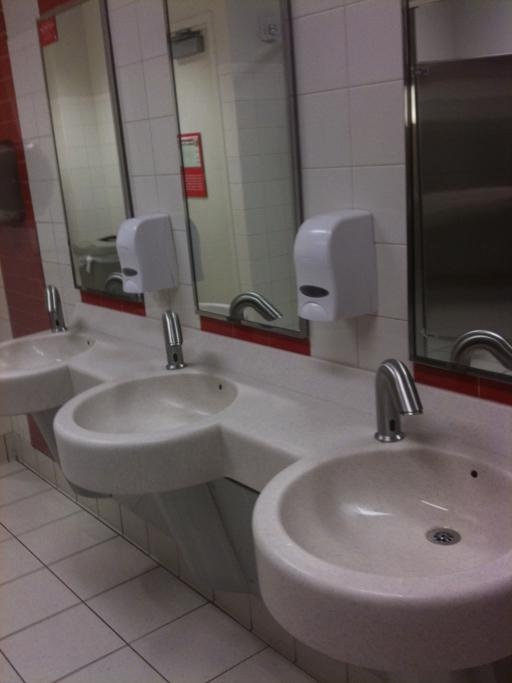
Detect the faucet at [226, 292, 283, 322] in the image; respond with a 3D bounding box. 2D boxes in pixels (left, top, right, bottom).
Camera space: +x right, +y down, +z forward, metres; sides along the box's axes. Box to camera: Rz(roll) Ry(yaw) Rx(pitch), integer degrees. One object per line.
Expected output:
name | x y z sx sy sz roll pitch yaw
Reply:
faucet | 0.004 -0.098 1.603 0.029 0.069 0.113 -29 43 -30
